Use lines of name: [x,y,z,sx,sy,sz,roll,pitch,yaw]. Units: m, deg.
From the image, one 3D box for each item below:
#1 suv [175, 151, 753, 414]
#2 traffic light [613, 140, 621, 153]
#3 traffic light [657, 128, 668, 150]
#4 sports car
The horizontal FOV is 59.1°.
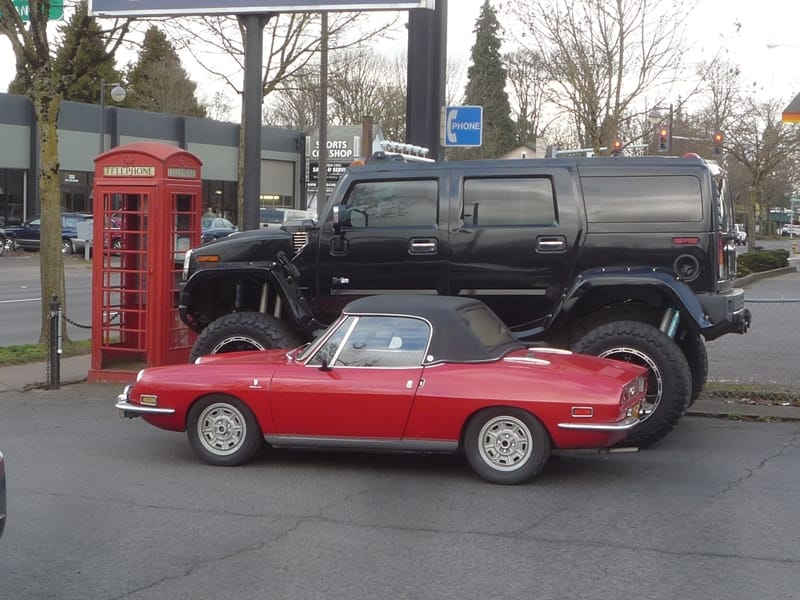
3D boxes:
suv: [0.890,-0.091,9.353,5.793,2.572,3.275,2,2,15]
traffic light: [7.599,-5.405,24.798,0.363,0.463,0.363,4,1,16]
traffic light: [10.623,-6.520,28.502,0.347,0.761,0.600,1,3,14]
sports car: [-0.125,0.781,7.024,4.327,1.371,1.931,3,-1,13]
